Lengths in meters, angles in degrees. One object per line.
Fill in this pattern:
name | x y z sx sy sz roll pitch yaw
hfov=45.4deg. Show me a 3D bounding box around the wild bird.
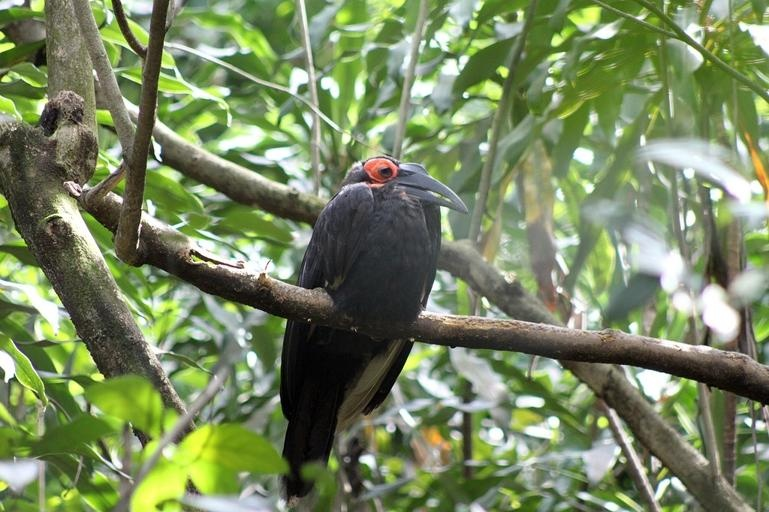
wild bird | -0.091 0.288 4.094 0.665 1.604 0.812 12 -21 -6
